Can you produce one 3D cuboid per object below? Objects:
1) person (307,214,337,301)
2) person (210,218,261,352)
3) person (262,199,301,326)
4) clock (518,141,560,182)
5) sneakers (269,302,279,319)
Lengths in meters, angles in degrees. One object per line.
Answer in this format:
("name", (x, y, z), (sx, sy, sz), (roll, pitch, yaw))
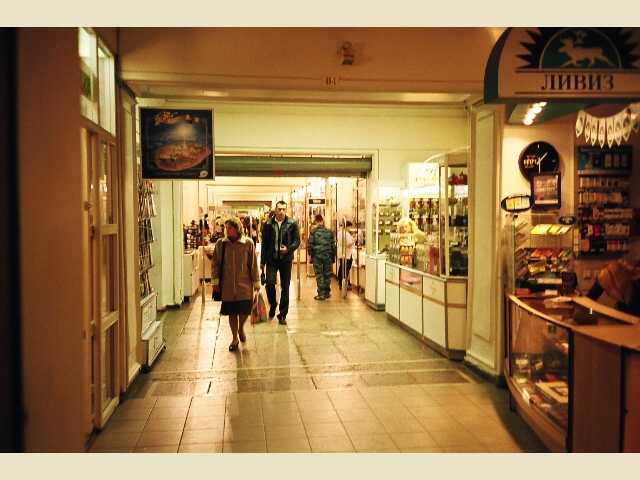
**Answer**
("person", (0.036, 0.430, 10.766), (0.519, 1.726, 0.504), (0, 4, -2))
("person", (-1.163, 0.595, 6.737), (0.651, 1.802, 0.459), (-2, 4, -20))
("person", (-0.680, 0.375, 8.405), (0.647, 2.090, 0.679), (0, 4, -3))
("clock", (2.504, -0.899, 5.590), (0.454, 0.470, 0.064), (-1, 0, -15))
("sneakers", (-0.803, 1.253, 8.647), (0.138, 0.302, 0.166), (3, -2, -17))
